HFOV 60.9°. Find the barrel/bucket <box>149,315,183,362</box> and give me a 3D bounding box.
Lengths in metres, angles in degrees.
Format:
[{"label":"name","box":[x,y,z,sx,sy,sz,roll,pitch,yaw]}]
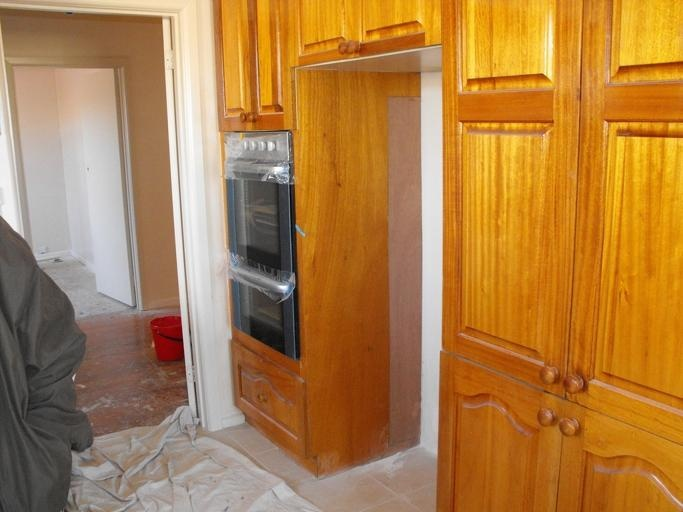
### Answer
[{"label":"barrel/bucket","box":[-1.357,0.652,4.712,0.365,0.306,0.356,-1,7,0]}]
